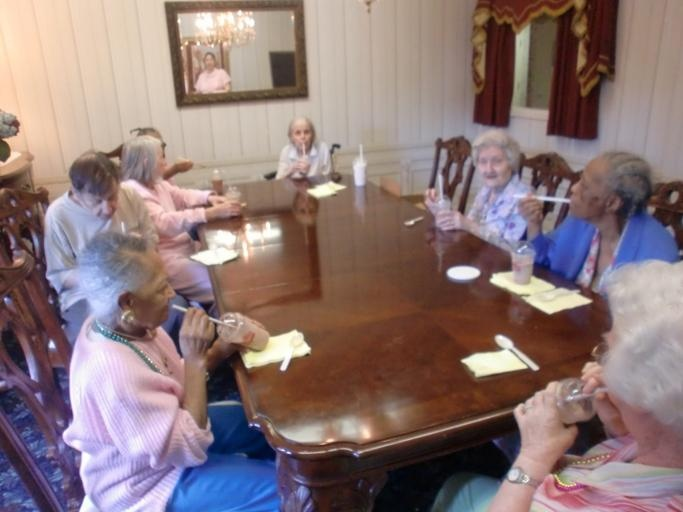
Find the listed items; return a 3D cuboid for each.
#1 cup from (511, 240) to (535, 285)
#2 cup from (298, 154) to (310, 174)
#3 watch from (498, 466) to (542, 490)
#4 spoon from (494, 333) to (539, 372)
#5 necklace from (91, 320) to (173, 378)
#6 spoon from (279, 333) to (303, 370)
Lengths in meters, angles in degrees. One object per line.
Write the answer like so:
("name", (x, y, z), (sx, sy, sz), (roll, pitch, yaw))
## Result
("cup", (0.757, 0.024, 2.160), (0.094, 0.185, 0.099), (-3, 15, 1))
("cup", (-0.297, -0.707, 4.065), (0.075, 0.167, 0.271), (-6, 20, -4))
("watch", (0.452, 0.560, 1.302), (0.062, 0.043, 0.067), (29, -3, -24))
("spoon", (0.586, 0.323, 1.735), (0.046, 0.034, 0.226), (-22, 27, 1))
("necklace", (-0.681, 0.275, 1.697), (0.058, 0.223, 0.135), (-51, 23, -6))
("spoon", (-0.170, 0.322, 1.779), (0.032, 0.028, 0.180), (-2, 35, 18))
